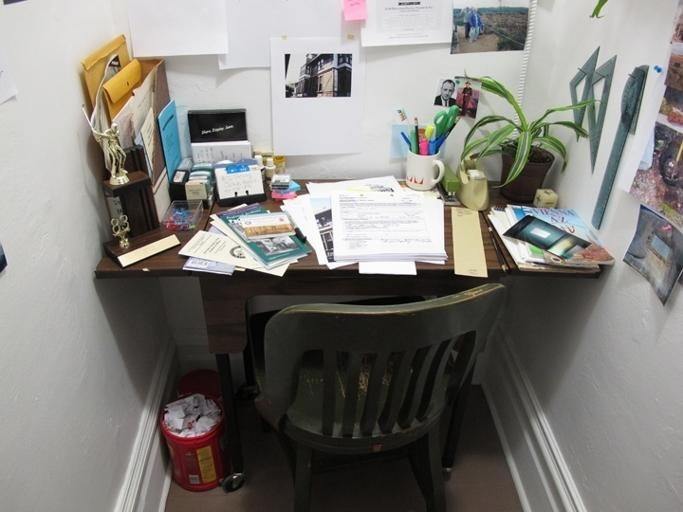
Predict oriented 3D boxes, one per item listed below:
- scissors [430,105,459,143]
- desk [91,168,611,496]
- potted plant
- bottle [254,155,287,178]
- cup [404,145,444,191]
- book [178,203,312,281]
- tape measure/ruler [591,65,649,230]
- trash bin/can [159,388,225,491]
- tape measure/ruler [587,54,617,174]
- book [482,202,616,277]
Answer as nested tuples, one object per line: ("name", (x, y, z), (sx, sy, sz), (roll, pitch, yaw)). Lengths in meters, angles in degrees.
("scissors", (0.346, -0.450, 1.665), (0.103, 0.165, 0.031), (-31, 71, -7))
("desk", (-0.058, 0.304, 1.771), (1.212, 0.872, 0.673), (0, 23, -3))
("potted plant", (0.610, -0.363, 1.645), (0.376, 0.370, 0.441), (6, 27, 10))
("bottle", (-0.247, -0.318, 1.724), (0.101, 0.111, 0.071), (-6, 49, -14))
("cup", (0.300, -0.292, 1.700), (0.097, 0.124, 0.159), (-20, 42, -28))
("book", (-0.297, -0.036, 1.446), (0.347, 0.069, 0.345), (-19, 35, -25))
("tape measure/ruler", (0.773, -0.290, 1.366), (0.050, 0.439, 0.110), (14, 33, 26))
("trash bin/can", (-0.515, 0.650, 1.882), (0.273, 0.332, 0.288), (-7, 30, -13))
("tape measure/ruler", (0.757, -0.424, 1.446), (0.004, 0.240, 0.086), (1, 11, -6))
("book", (0.617, -0.059, 1.496), (0.271, 0.084, 0.330), (-4, 32, -3))
